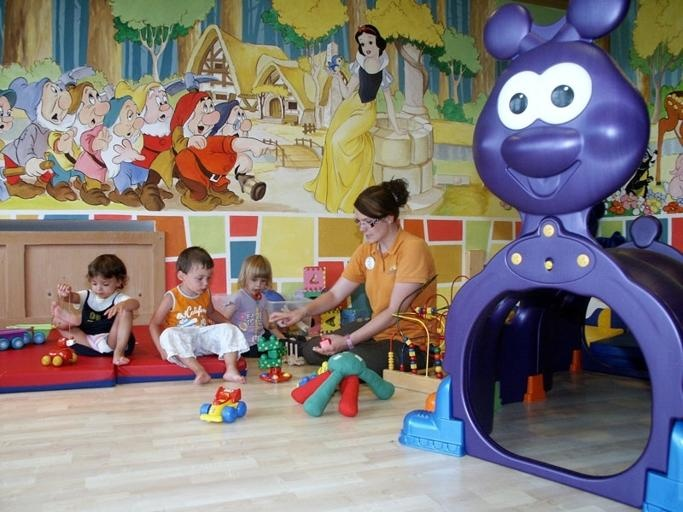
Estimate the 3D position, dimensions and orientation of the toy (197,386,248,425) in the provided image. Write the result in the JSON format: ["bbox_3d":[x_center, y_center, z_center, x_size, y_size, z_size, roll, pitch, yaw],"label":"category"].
[{"bbox_3d":[-0.485,0.615,2.729,0.122,0.112,0.168,-3,-4,29],"label":"toy"}]

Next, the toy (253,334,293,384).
[{"bbox_3d":[-0.350,0.527,3.406,0.186,0.206,0.189,3,5,34],"label":"toy"}]

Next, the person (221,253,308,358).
[{"bbox_3d":[-0.551,0.258,4.078,0.543,0.791,0.550,0,2,42],"label":"person"}]

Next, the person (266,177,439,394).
[{"bbox_3d":[0.091,0.132,3.461,0.840,1.017,0.692,-6,8,-14],"label":"person"}]

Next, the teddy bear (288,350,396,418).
[{"bbox_3d":[0.057,0.547,2.927,0.417,0.195,0.395,-10,9,39],"label":"teddy bear"}]

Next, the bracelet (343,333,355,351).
[{"bbox_3d":[0.045,0.433,3.329,0.041,0.075,0.074,-12,22,1],"label":"bracelet"}]
